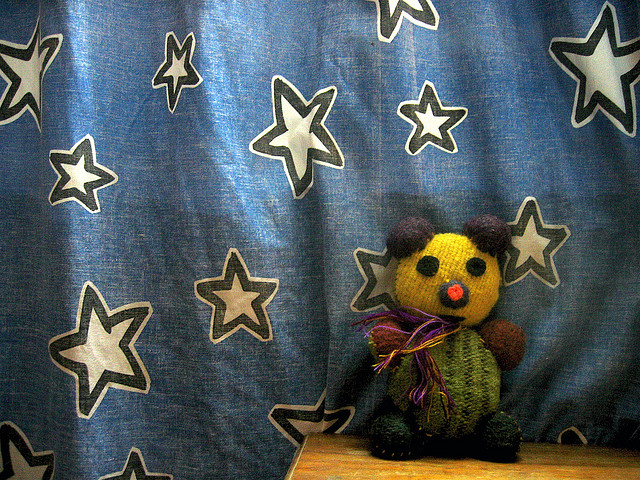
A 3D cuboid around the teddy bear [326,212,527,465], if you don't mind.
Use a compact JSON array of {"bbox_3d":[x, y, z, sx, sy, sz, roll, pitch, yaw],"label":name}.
[{"bbox_3d":[0.280,0.197,1.597,0.347,0.513,0.149,3,4,-4],"label":"teddy bear"}]
